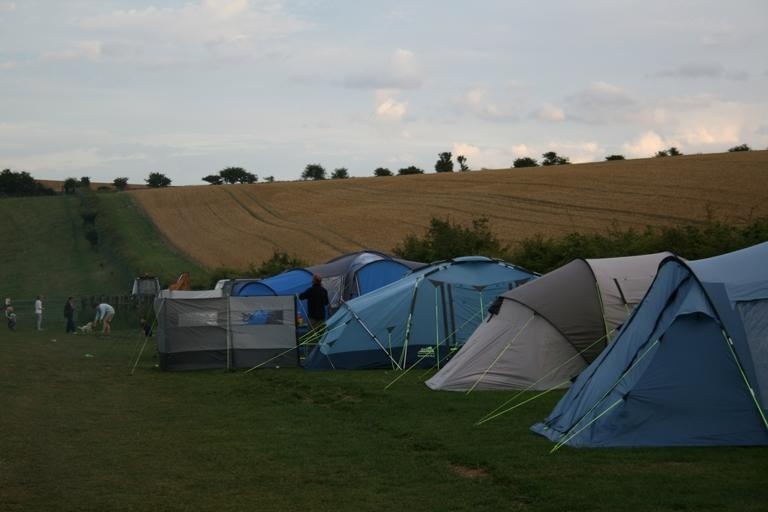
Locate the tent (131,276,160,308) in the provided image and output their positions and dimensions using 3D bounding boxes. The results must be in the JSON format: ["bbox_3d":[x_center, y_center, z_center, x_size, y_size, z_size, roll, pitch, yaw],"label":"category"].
[{"bbox_3d":[-11.891,1.828,43.946,1.882,2.083,2.239,1,-6,-17],"label":"tent"}]
